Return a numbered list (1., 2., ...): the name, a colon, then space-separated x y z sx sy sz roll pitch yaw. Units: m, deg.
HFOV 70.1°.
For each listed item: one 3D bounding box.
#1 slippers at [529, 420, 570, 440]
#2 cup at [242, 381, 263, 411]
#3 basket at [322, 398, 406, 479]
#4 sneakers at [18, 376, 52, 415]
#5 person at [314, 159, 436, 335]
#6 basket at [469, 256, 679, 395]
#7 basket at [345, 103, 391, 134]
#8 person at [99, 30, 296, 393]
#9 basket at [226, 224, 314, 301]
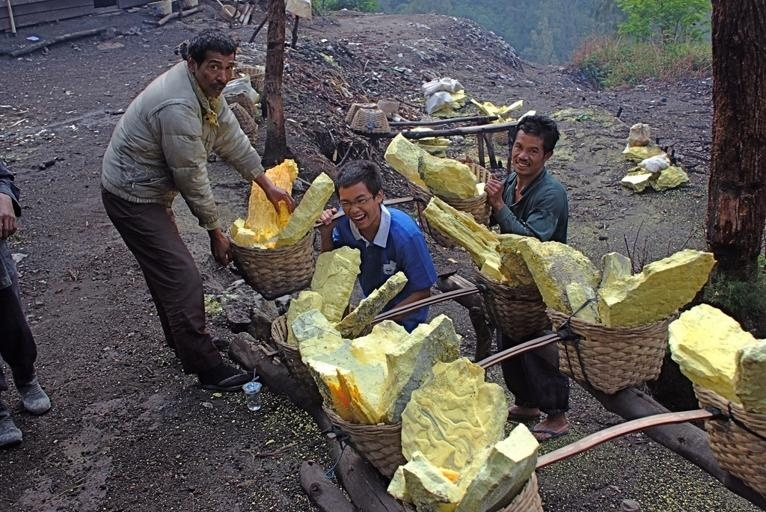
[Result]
1. slippers: 1.209 1.296 4.014 0.331 0.085 0.176 -4 13 -22
2. cup: -0.946 1.025 3.952 0.123 0.145 0.135 0 23 0
3. basket: -0.045 0.941 2.923 0.419 0.325 0.404 -20 15 1
4. sneakers: -2.527 1.016 4.013 0.392 0.162 0.138 21 31 37
5. person: -0.045 -0.143 3.982 0.856 1.088 0.411 18 36 37
6. basket: 1.136 0.526 3.078 1.018 0.355 0.483 -18 19 -20
7. basket: -0.262 -2.058 8.215 0.528 0.367 0.666 -15 29 -19
8. person: -1.315 -0.287 3.962 1.019 2.421 0.918 -26 34 -34
9. basket: -0.805 0.061 4.057 0.568 0.364 0.487 -17 20 -12
